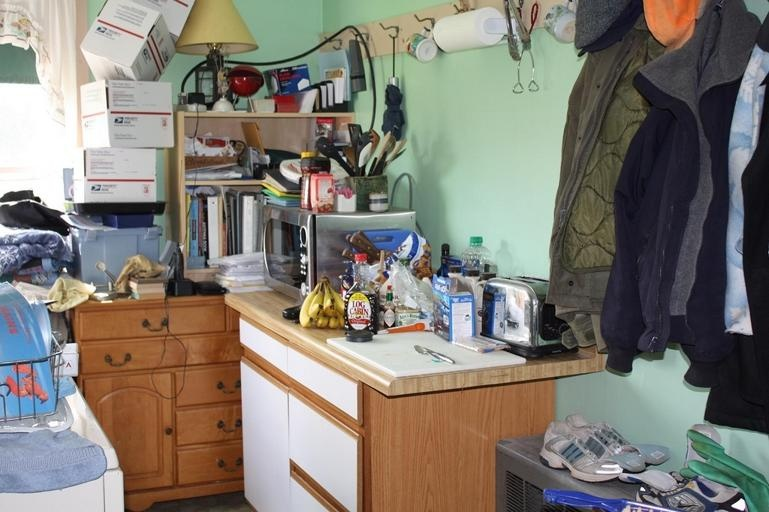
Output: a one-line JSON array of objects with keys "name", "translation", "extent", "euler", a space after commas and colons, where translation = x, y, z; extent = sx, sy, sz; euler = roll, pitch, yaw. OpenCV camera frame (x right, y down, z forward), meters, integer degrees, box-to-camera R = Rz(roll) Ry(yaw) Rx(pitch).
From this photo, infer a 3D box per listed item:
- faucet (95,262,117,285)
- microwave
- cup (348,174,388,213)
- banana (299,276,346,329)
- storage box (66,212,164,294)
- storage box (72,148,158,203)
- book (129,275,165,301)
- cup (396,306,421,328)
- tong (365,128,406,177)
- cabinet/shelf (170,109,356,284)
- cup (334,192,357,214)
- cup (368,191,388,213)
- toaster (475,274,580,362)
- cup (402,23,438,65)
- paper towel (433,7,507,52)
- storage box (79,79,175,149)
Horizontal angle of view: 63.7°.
[{"name": "faucet", "translation": [-1.496, 0.092, 3.336], "extent": [0.096, 0.130, 0.189], "euler": [-2, 4, -24]}, {"name": "microwave", "translation": [-0.215, -0.068, 3.008], "extent": [0.524, 0.399, 0.646], "euler": [-1, 5, -22]}, {"name": "cup", "translation": [-0.094, -0.296, 3.065], "extent": [0.233, 0.215, 0.163], "euler": [-2, 4, -22]}, {"name": "banana", "translation": [-0.246, 0.207, 2.577], "extent": [0.162, 0.118, 0.207], "euler": [-1, 40, -7]}, {"name": "storage box", "translation": [-1.493, -0.032, 3.421], "extent": [0.469, 0.383, 0.389], "euler": [-4, 8, -26]}, {"name": "storage box", "translation": [-1.429, -0.435, 3.321], "extent": [0.383, 0.292, 0.086], "euler": [-2, 3, -12]}, {"name": "book", "translation": [-1.228, 0.161, 3.207], "extent": [0.131, 0.078, 0.127], "euler": [0, 4, -8]}, {"name": "cup", "translation": [0.103, 0.239, 2.539], "extent": [0.101, 0.093, 0.074], "euler": [0, 0, -14]}, {"name": "tong", "translation": [-0.002, -0.533, 3.191], "extent": [0.206, 0.258, 0.415], "euler": [-1, 3, 0]}, {"name": "cabinet/shelf", "translation": [-0.648, -0.318, 3.759], "extent": [1.251, 1.051, 0.406], "euler": [4, -1, 35]}, {"name": "cup", "translation": [-0.181, -0.255, 2.916], "extent": [0.097, 0.090, 0.095], "euler": [0, 6, 0]}, {"name": "cup", "translation": [-0.029, -0.268, 2.982], "extent": [0.095, 0.087, 0.095], "euler": [1, 3, 0]}, {"name": "toaster", "translation": [0.557, 0.228, 2.369], "extent": [0.261, 0.255, 0.379], "euler": [0, 2, -18]}, {"name": "cup", "translation": [0.179, -1.025, 2.991], "extent": [0.094, 0.160, 0.182], "euler": [-3, 4, -34]}, {"name": "paper towel", "translation": [0.383, -0.980, 2.685], "extent": [0.190, 0.168, 0.417], "euler": [-2, 4, -23]}, {"name": "storage box", "translation": [-1.408, -0.749, 3.414], "extent": [0.417, 0.354, 0.420], "euler": [1, 2, 44]}]
